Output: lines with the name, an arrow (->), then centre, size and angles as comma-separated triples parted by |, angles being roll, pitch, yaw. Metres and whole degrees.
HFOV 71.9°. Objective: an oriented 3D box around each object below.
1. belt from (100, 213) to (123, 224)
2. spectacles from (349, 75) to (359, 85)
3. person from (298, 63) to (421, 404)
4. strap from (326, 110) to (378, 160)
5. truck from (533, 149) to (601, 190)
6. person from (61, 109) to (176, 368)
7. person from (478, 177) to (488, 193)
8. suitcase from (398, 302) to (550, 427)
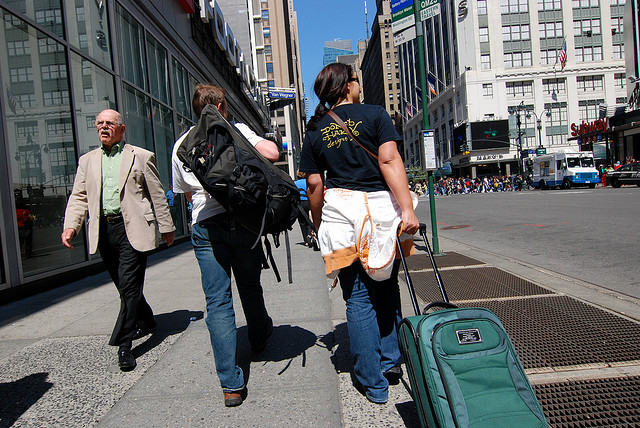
belt -> -2.331, 0.057, 4.917 | 0.249, 0.095, 0.045 | -2, 7, 4
spectacles -> 0.335, -1.309, 4.317 | 0.034, 0.040, 0.132 | 1, 8, -27
person -> 0.378, 0.134, 4.177 | 1.047, 3.104, 0.602 | 3, 9, 34
strap -> 0.320, -0.734, 4.123 | 0.075, 0.546, 0.060 | -39, -10, -10
truck -> 19.681, -3.516, 35.496 | 2.448, 3.185, 5.974 | -1, 2, 0
person -> -2.264, 0.192, 5.010 | 1.011, 2.707, 0.889 | 2, 8, 28
person -> 19.574, -3.432, 53.189 | 1.231, 1.475, 0.637 | 7, -1, -5
suitcase -> 1.180, 1.211, 3.511 | 1.001, 0.878, 0.519 | -2, 8, 1
